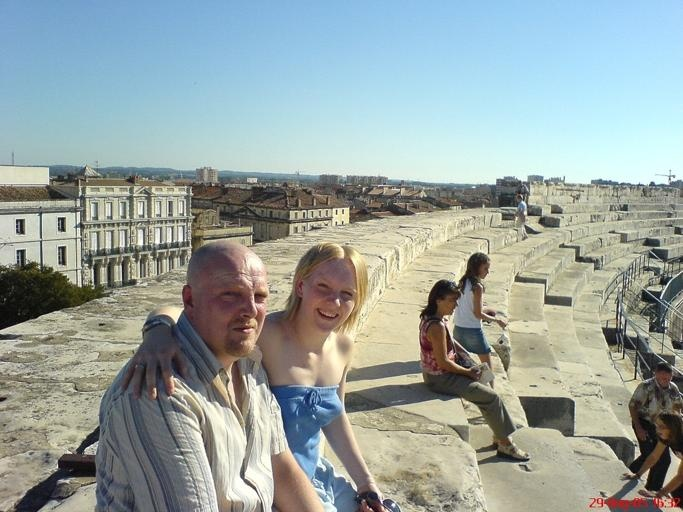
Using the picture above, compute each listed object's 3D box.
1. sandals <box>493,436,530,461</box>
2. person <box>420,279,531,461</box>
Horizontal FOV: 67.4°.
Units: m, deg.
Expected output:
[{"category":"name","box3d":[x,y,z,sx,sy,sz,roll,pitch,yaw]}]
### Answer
[{"category":"sandals","box3d":[1.119,1.289,3.446,0.266,0.169,0.101,-1,8,10]},{"category":"person","box3d":[0.939,0.770,3.687,0.848,1.124,0.478,5,6,32]}]
